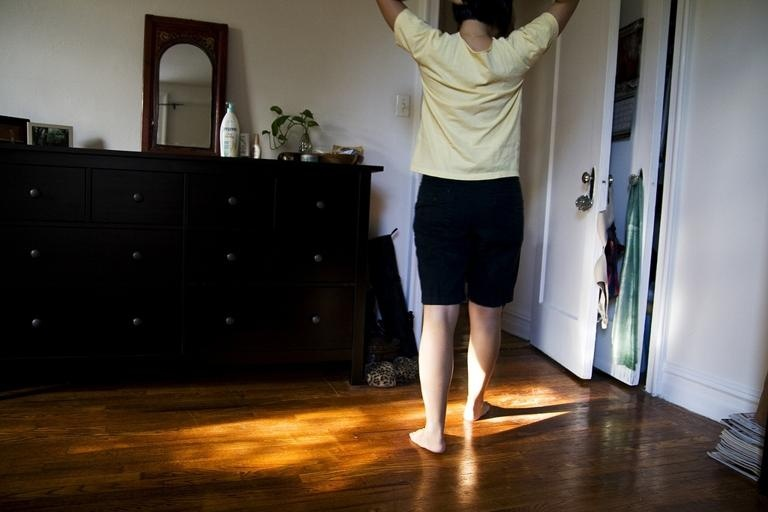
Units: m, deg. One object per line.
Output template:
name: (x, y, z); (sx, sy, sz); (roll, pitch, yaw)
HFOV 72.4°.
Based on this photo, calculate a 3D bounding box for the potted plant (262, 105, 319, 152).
potted plant: (-0.601, -0.823, 3.383); (0.321, 0.278, 0.340); (-9, 17, -28)

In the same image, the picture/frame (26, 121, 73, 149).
picture/frame: (-1.883, -0.673, 2.940); (0.226, 0.153, 0.115); (-1, 1, -27)
